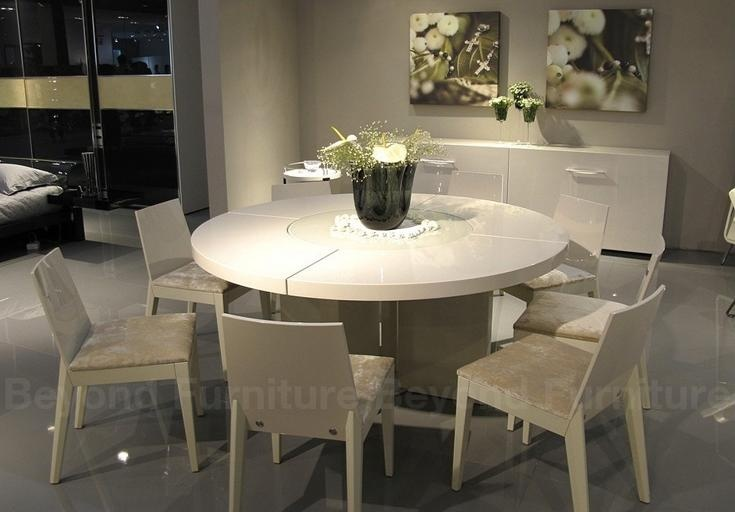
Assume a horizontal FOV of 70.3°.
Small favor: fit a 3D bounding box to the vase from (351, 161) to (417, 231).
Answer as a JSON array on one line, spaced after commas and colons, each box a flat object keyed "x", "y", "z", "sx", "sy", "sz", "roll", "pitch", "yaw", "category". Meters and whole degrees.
[{"x": 0.101, "y": -0.360, "z": 3.133, "sx": 0.362, "sy": 0.374, "sz": 0.371, "roll": 4, "pitch": 20, "yaw": 12, "category": "vase"}]

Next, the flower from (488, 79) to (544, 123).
[{"x": 1.617, "y": -1.656, "z": 5.594, "sx": 0.474, "sy": 0.344, "sz": 0.488, "roll": 5, "pitch": 25, "yaw": 15, "category": "flower"}]
